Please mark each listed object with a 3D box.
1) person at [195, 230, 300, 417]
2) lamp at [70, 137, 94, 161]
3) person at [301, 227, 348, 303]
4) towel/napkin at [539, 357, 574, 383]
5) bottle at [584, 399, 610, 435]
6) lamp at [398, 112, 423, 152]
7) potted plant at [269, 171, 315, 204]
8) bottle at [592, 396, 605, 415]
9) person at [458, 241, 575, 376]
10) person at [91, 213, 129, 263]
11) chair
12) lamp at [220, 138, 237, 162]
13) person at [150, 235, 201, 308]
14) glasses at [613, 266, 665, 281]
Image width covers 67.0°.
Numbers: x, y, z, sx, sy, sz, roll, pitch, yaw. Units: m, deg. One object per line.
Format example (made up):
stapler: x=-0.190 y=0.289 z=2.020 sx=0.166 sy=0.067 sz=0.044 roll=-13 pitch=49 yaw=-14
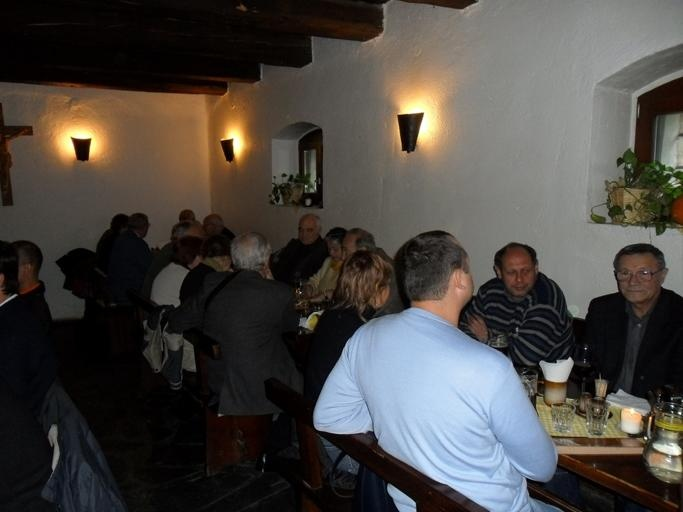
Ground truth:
person: x=-0.589 y=0.439 z=3.285 sx=0.609 sy=1.134 sz=0.323 roll=-7 pitch=13 yaw=-19
lamp: x=-3.234 y=-1.332 z=6.466 sx=0.248 sy=0.327 sz=0.269 roll=13 pitch=16 yaw=35
person: x=-0.156 y=0.085 z=4.478 sx=0.398 sy=0.745 sz=0.387 roll=5 pitch=19 yaw=-18
towel/napkin: x=1.010 y=0.535 z=2.415 sx=0.116 sy=0.089 sz=0.115 roll=3 pitch=-6 yaw=0
bottle: x=1.141 y=0.700 z=2.301 sx=0.089 sy=0.120 sz=0.205 roll=5 pitch=15 yaw=29
lamp: x=0.553 y=-1.019 z=4.284 sx=0.250 sy=0.369 sz=0.291 roll=-5 pitch=13 yaw=-15
potted plant: x=-0.574 y=-0.757 z=5.999 sx=0.424 sy=0.363 sz=0.482 roll=-6 pitch=11 yaw=-36
bottle: x=1.140 y=0.663 z=2.294 sx=0.057 sy=0.070 sz=0.062 roll=3 pitch=-4 yaw=30
person: x=0.999 y=0.186 z=3.347 sx=0.658 sy=0.969 sz=0.714 roll=-11 pitch=16 yaw=-30
person: x=-2.794 y=-0.241 z=6.201 sx=0.339 sy=0.290 sz=0.972 roll=-12 pitch=-25 yaw=-39
chair: x=-0.962 y=0.867 z=3.448 sx=0.378 sy=0.663 sz=0.995 roll=-5 pitch=14 yaw=-28
lamp: x=-1.509 y=-1.361 z=6.802 sx=0.242 sy=0.364 sz=0.286 roll=-2 pitch=3 yaw=-15
person: x=-1.304 y=0.137 z=4.064 sx=0.296 sy=0.746 sz=0.390 roll=23 pitch=24 yaw=34
glasses: x=1.606 y=0.097 z=2.795 sx=0.221 sy=0.078 sz=0.104 roll=5 pitch=15 yaw=28
